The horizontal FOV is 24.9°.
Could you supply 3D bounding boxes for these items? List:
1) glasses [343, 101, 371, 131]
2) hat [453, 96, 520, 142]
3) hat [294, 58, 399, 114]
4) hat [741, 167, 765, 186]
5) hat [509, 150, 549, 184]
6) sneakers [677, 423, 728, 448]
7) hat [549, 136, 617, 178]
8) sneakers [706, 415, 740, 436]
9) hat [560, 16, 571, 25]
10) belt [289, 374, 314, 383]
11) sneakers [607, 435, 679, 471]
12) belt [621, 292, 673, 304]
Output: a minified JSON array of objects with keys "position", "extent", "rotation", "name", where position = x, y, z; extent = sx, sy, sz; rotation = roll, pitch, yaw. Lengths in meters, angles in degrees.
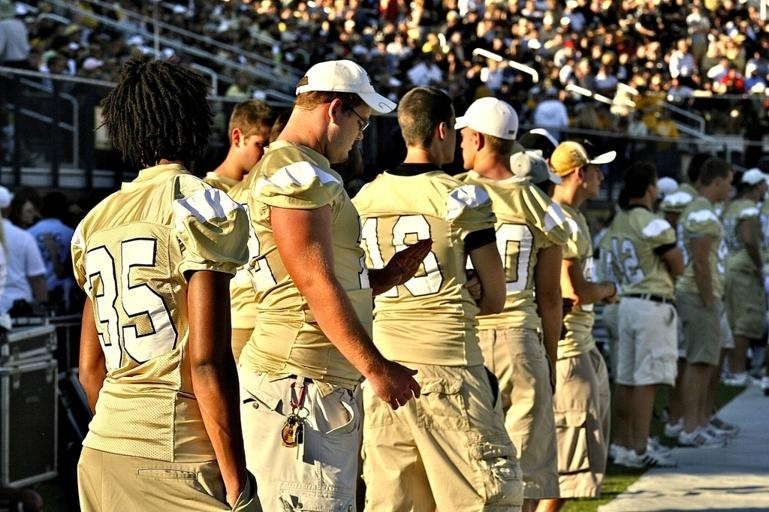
[{"position":[-0.198,-1.167,14.377],"extent":[0.066,0.209,0.211],"rotation":[-24,-2,4],"name":"glasses"},{"position":[0.920,-1.242,15.543],"extent":[0.516,0.240,0.367],"rotation":[17,19,23],"name":"hat"},{"position":[-0.286,-1.405,14.316],"extent":[0.713,0.323,0.424],"rotation":[0,4,-8],"name":"hat"},{"position":[3.387,-0.723,15.912],"extent":[0.243,0.158,0.042],"rotation":[0,0,41],"name":"hat"},{"position":[1.372,-0.827,16.142],"extent":[0.410,0.307,0.192],"rotation":[0,0,-9],"name":"hat"},{"position":[3.048,1.762,16.661],"extent":[0.434,0.158,0.158],"rotation":[-7,-13,37],"name":"sneakers"},{"position":[1.885,-0.983,16.773],"extent":[0.688,0.306,0.406],"rotation":[-20,3,-8],"name":"hat"},{"position":[3.178,1.593,16.266],"extent":[0.138,0.196,0.370],"rotation":[0,0,-19],"name":"sneakers"},{"position":[3.415,-4.433,32.758],"extent":[0.195,0.140,0.141],"rotation":[2,-38,-9],"name":"hat"},{"position":[-0.674,1.005,14.248],"extent":[0.184,0.069,0.007],"rotation":[0,-1,-2],"name":"belt"},{"position":[2.644,2.046,17.730],"extent":[0.707,0.271,0.235],"rotation":[-1,2,16],"name":"sneakers"},{"position":[2.716,0.436,17.702],"extent":[0.453,0.116,0.115],"rotation":[0,0,24],"name":"belt"}]
